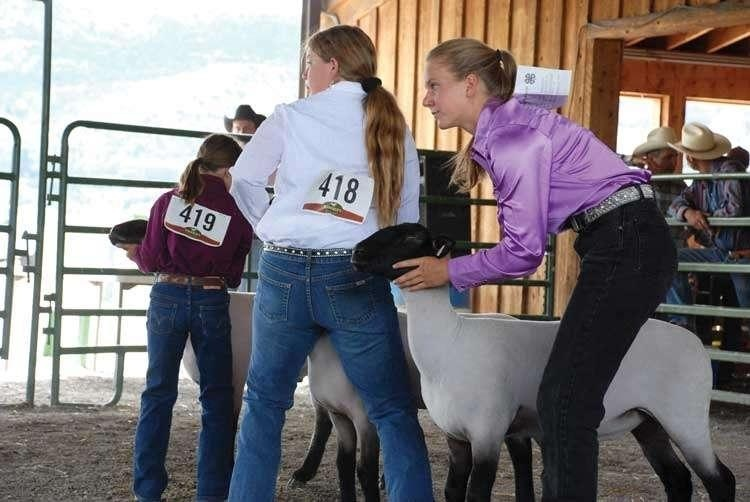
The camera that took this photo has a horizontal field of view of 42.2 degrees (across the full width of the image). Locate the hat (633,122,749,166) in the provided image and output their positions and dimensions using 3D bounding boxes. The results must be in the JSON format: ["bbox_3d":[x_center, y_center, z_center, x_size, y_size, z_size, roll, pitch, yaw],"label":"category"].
[{"bbox_3d":[3.312,-1.138,10.350,0.660,0.200,0.686,-20,15,-1],"label":"hat"}]

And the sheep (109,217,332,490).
[{"bbox_3d":[-1.310,0.776,7.751,0.707,1.849,3.014,-11,13,-41],"label":"sheep"}]

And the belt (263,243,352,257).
[{"bbox_3d":[-0.433,-0.009,6.316,0.566,0.079,0.109,1,1,15],"label":"belt"}]

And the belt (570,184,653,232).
[{"bbox_3d":[1.454,-0.276,6.108,0.343,0.111,0.352,-22,-7,-45],"label":"belt"}]
